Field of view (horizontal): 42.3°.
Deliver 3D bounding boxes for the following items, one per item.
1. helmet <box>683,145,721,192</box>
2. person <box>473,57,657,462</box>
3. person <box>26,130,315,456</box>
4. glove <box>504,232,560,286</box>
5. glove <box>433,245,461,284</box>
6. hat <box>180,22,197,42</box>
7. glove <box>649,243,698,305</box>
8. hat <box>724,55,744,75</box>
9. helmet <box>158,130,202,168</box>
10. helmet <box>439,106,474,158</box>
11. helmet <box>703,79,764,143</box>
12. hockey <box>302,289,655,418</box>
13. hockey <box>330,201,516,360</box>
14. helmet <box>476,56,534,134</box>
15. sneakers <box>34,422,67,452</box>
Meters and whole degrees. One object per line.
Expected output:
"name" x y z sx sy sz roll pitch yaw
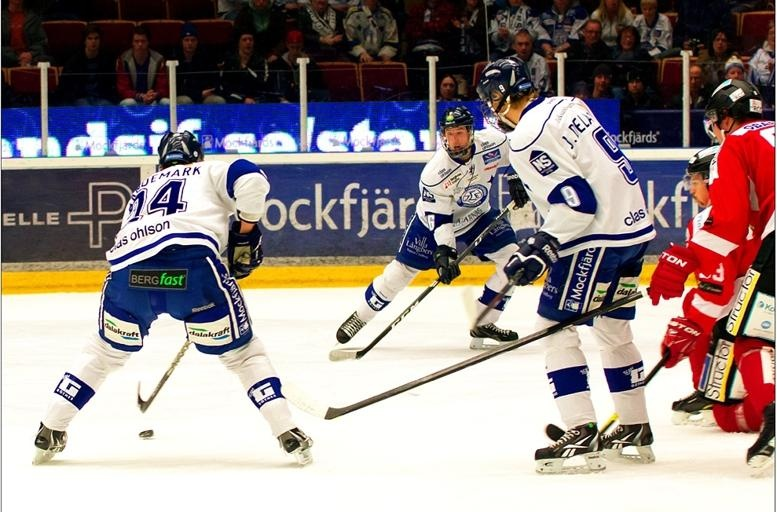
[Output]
"helmet" 1.833 -0.519 5.981 0.168 0.174 0.197 0 18 19
"person" 0.939 0.032 5.112 0.881 2.048 0.693 2 13 13
"person" -1.125 0.221 5.333 1.357 1.596 0.923 -2 13 -5
"glove" 0.714 0.035 5.070 0.216 0.307 0.125 40 6 14
"glove" 0.394 0.051 7.067 0.203 0.109 0.252 11 37 -16
"hat" -2.003 -2.254 10.118 0.163 0.162 0.202 1 -2 -7
"glove" 1.452 0.081 5.076 0.225 0.272 0.120 6 -34 -9
"hat" 3.247 -1.800 9.475 0.159 0.149 0.190 1 4 11
"helmet" -1.203 -0.606 5.696 0.206 0.209 0.239 0 19 14
"helmet" 0.473 -0.898 7.200 0.310 0.345 0.383 -7 13 11
"helmet" 1.833 -0.775 5.328 0.257 0.260 0.284 -6 2 -40
"hockey" 0.549 0.628 6.221 1.857 0.184 0.124 -20 -42 20
"hockey" 0.292 0.207 7.820 1.988 0.307 0.222 -36 -14 17
"helmet" 0.620 -0.874 5.317 0.359 0.323 0.294 -11 3 7
"sneakers" -1.745 0.942 5.190 0.181 0.143 0.136 2 -10 18
